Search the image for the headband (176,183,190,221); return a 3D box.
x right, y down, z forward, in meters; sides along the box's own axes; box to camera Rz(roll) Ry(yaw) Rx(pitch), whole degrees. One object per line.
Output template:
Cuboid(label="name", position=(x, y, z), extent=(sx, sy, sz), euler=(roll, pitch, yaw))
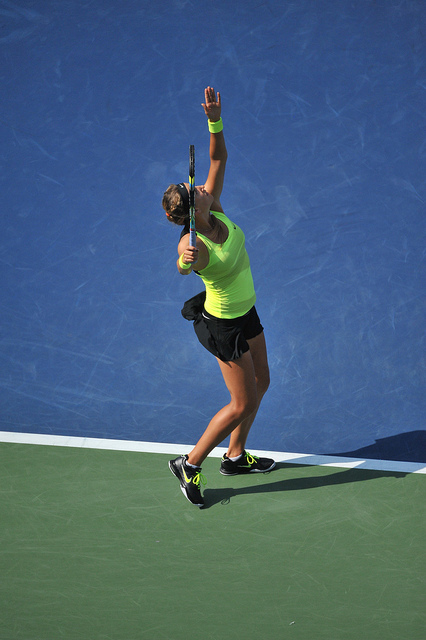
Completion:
Cuboid(label="headband", position=(-0.128, -0.532, 2.866), extent=(0.036, 0.127, 0.097), euler=(-2, 17, -10))

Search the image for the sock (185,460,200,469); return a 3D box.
Cuboid(label="sock", position=(-0.102, 0.737, 3.197), extent=(0.070, 0.027, 0.022), euler=(18, 18, -7))
